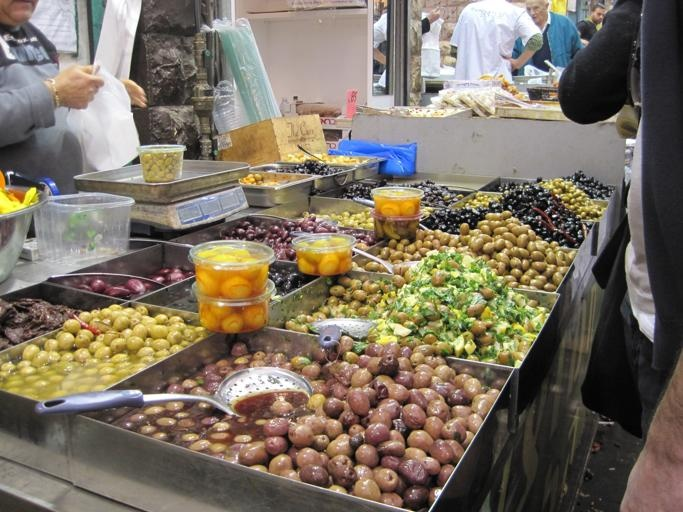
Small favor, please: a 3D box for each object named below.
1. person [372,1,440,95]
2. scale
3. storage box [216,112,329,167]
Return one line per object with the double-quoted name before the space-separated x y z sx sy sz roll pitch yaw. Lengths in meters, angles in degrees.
"person" 0.924 -3.035 7.552 0.827 1.294 1.107 24 45 21
"scale" -0.919 -0.298 2.634 0.486 0.218 0.645 10 22 23
"storage box" -0.600 -0.994 4.597 0.730 0.251 0.558 3 17 44
